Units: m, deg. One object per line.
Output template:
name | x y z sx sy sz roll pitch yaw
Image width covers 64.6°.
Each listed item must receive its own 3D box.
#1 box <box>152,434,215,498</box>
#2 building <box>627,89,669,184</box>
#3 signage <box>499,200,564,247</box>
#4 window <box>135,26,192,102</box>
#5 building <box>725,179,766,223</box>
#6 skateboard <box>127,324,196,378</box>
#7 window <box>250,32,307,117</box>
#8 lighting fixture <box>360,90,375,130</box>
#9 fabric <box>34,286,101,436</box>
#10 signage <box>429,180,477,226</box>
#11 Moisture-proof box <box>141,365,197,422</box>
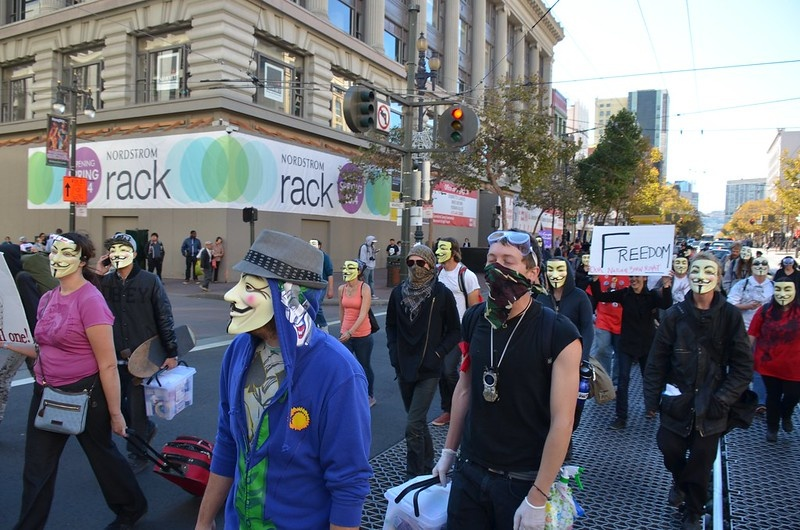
box | -2.387 2.110 6.986 0.612 0.541 0.904 -1 -38 0
building | 88.974 -45.023 228.908 13.061 42.186 10.856 4 -29 13
signage | 12.886 -3.886 58.247 0.271 2.171 8.617 7 3 44
window | -11.008 -8.967 28.973 3.220 3.735 0.189 -2 -6 20
building | 172.680 -35.671 317.931 10.706 16.604 54.528 3 2 19
skateboard | -2.871 1.030 7.656 0.140 0.334 1.014 -17 6 26
window | -5.839 -8.966 29.709 0.184 3.588 4.876 0 -2 22
lighting fixture | -0.680 -3.386 13.763 0.200 0.807 0.446 4 3 41
fabric | -3.299 1.265 6.267 0.592 0.754 0.176 10 -1 -1
signage | 3.680 -4.098 44.257 0.599 3.076 6.184 1 0 37
Moisture-proof box | -2.802 1.482 7.660 0.386 0.582 0.587 2 12 9
